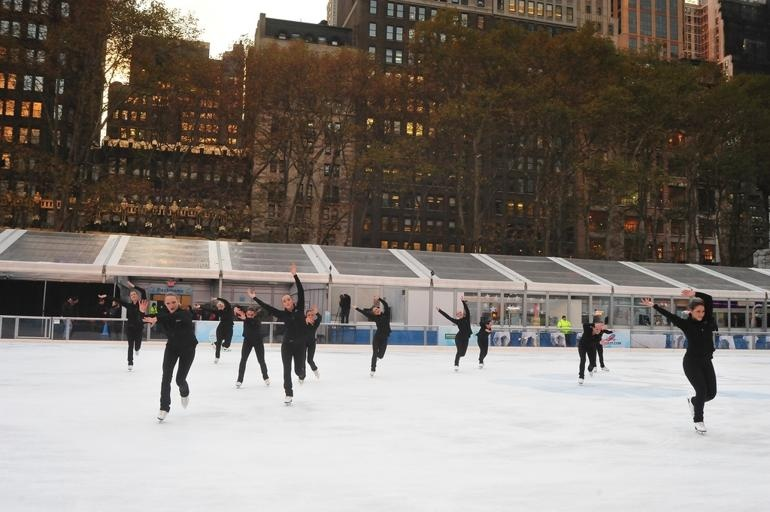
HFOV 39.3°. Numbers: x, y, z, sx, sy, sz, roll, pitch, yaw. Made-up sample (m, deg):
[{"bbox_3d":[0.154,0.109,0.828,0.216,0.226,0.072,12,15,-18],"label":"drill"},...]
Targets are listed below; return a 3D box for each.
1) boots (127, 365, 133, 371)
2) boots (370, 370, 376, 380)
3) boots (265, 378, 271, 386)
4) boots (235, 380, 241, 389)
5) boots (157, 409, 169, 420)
[{"bbox_3d":[-12.507,5.490,53.069,0.185,0.221,0.256,-2,-47,-10],"label":"boots"},{"bbox_3d":[-0.587,5.793,53.248,0.284,0.306,0.282,0,-9,-1],"label":"boots"},{"bbox_3d":[-5.411,5.824,49.899,0.229,0.305,0.326,1,9,2],"label":"boots"},{"bbox_3d":[-6.694,5.880,49.466,0.226,0.322,0.138,0,9,3],"label":"boots"},{"bbox_3d":[-9.308,6.652,45.279,0.397,0.476,0.454,2,-3,-14],"label":"boots"}]
